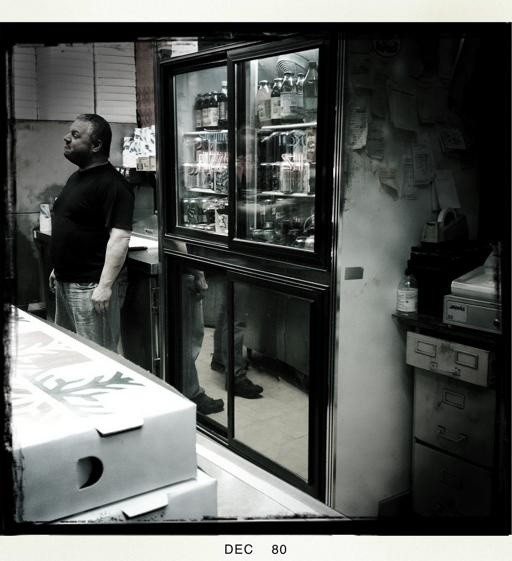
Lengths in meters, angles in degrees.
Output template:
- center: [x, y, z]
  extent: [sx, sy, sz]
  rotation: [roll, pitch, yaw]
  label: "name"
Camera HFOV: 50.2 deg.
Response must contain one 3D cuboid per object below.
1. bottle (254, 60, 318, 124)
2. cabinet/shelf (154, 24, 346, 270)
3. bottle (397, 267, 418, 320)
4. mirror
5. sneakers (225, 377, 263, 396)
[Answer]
- center: [0.122, -0.787, 2.317]
  extent: [0.277, 0.262, 0.171]
  rotation: [5, 12, 11]
  label: "bottle"
- center: [-0.003, -0.543, 2.426]
  extent: [0.828, 0.958, 0.335]
  rotation: [9, 15, 33]
  label: "cabinet/shelf"
- center: [0.566, 0.040, 2.044]
  extent: [0.067, 0.157, 0.078]
  rotation: [12, 15, 40]
  label: "bottle"
- center: [-0.026, 0.370, 2.201]
  extent: [0.038, 0.640, 0.800]
  rotation: [-6, 14, -28]
  label: "mirror"
- center: [-0.048, 0.490, 2.561]
  extent: [0.145, 0.074, 0.065]
  rotation: [0, 12, 31]
  label: "sneakers"
